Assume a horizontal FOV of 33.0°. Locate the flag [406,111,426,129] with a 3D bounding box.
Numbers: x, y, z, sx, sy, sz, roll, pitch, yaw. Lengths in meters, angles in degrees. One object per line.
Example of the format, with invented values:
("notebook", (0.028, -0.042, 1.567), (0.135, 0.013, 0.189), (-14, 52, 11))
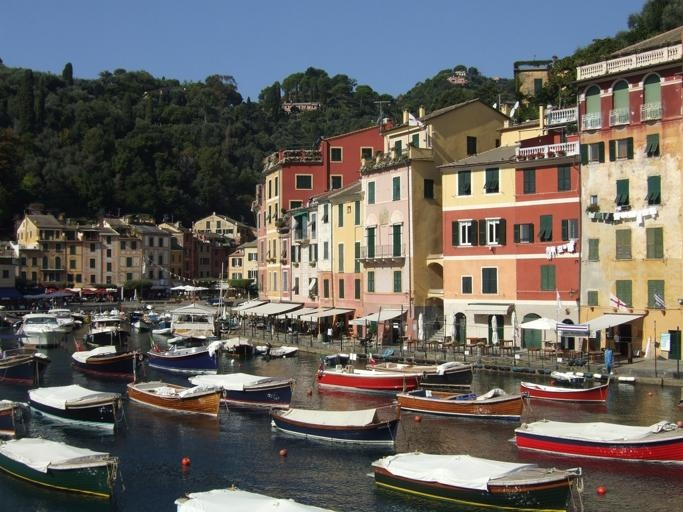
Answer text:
("flag", (7.517, -13.845, 117.884), (1.093, 1.677, 2.371), (5, -9, -23))
